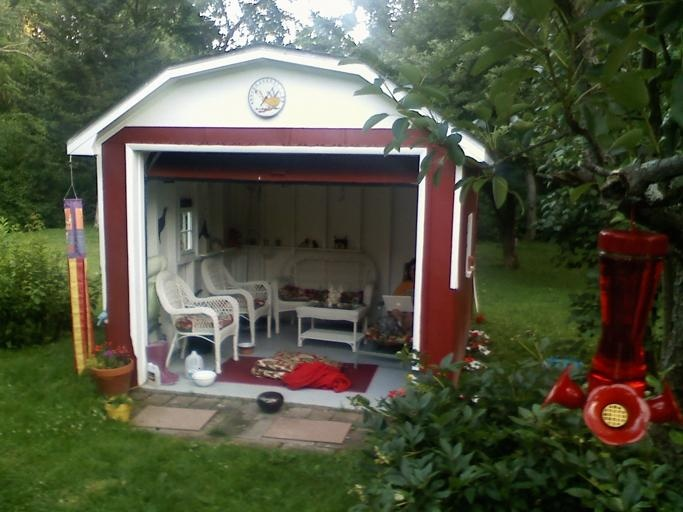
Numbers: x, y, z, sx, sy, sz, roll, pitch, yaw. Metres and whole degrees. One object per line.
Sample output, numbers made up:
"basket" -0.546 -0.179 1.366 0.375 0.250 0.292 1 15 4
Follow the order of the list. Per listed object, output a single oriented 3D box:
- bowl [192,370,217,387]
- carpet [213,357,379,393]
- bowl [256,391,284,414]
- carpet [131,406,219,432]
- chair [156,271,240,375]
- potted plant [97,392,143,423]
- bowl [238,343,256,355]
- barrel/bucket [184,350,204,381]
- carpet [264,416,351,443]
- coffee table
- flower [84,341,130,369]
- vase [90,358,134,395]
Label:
"bowl" -1.650 1.477 7.173 0.200 0.074 0.196 2 10 0
"carpet" -0.594 1.519 7.766 2.062 0.086 1.220 3 8 7
"bowl" -0.777 1.608 6.524 0.277 0.189 0.282 2 8 0
"carpet" -1.781 1.716 6.242 0.797 0.017 0.530 3 8 7
"chair" -1.995 0.827 8.199 1.239 1.529 1.209 1 5 11
"potted plant" -2.364 1.594 6.247 0.299 0.200 0.282 0 2 22
"bowl" -1.371 1.348 8.626 0.170 0.076 0.167 1 8 0
"barrel/bucket" -1.846 1.385 7.466 0.300 0.422 0.288 1 5 0
"carpet" -0.331 1.771 6.030 0.818 0.031 0.556 4 8 9
"coffee table" -0.101 1.030 9.035 0.961 0.597 0.740 3 8 20
"flower" -2.592 1.130 6.606 0.323 0.178 0.304 -1 5 -29
"vase" -2.522 1.337 6.520 0.382 0.278 0.372 -2 -2 -3
